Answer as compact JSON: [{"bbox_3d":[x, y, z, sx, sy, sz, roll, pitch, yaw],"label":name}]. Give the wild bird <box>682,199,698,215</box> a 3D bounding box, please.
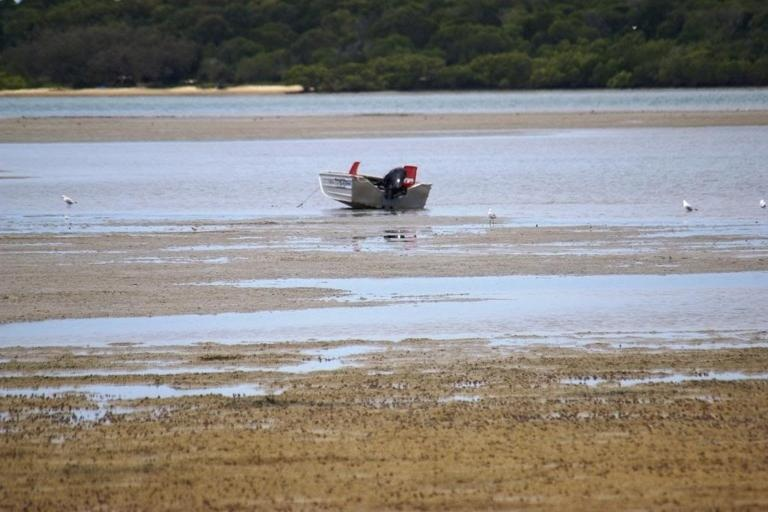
[{"bbox_3d":[25.354,-4.049,126.685,0.867,1.770,0.508,-20,52,17],"label":"wild bird"}]
